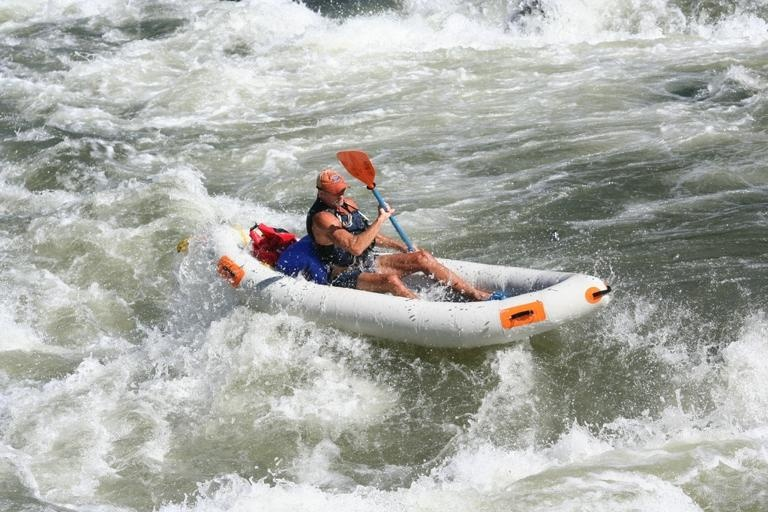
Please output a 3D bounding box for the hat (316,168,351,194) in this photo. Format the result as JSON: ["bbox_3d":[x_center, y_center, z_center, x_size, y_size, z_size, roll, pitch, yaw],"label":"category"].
[{"bbox_3d":[-0.722,-1.019,14.112,0.373,0.280,0.393,-2,39,-1],"label":"hat"}]

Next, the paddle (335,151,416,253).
[{"bbox_3d":[-0.056,-0.696,14.360,0.464,0.120,2.270,-1,41,-31],"label":"paddle"}]
